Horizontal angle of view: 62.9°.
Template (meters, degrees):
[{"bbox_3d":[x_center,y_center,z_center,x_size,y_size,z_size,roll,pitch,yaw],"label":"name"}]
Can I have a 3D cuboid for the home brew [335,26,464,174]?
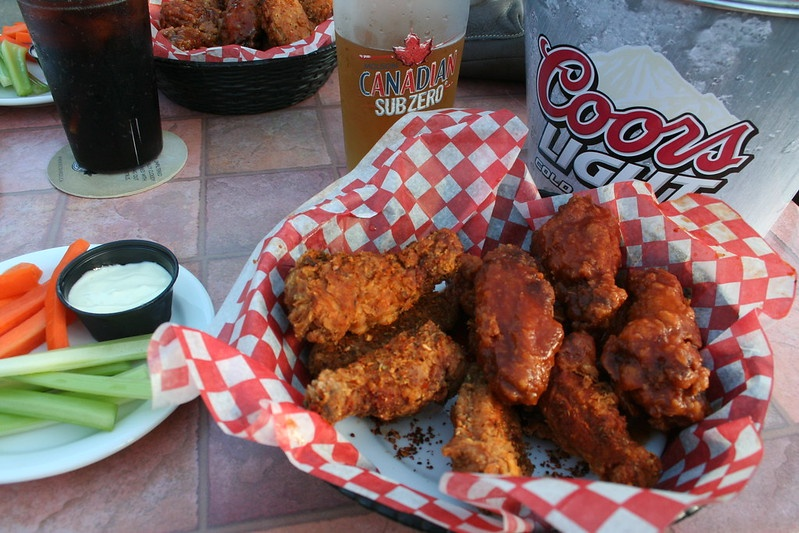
[{"bbox_3d":[-0.045,-0.692,2.788,0.411,0.588,0.473,-5,16,-24],"label":"home brew"}]

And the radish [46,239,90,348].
[{"bbox_3d":[-1.262,0.152,2.437,0.089,0.077,0.541,8,64,-15],"label":"radish"}]
